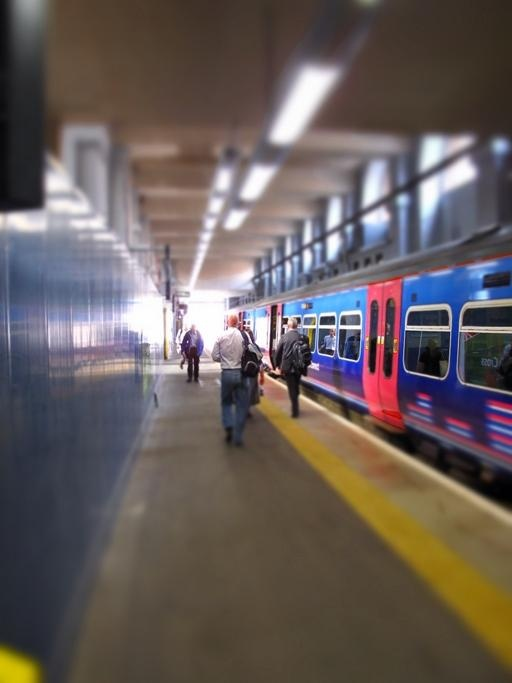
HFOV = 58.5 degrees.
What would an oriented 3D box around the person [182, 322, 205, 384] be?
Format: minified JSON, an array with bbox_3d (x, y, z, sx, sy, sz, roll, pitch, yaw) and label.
[{"bbox_3d":[-1.629,0.351,11.466,0.512,1.473,1.265,1,2,-9],"label":"person"}]

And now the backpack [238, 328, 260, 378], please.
[{"bbox_3d":[-0.039,0.152,5.424,0.333,0.717,0.482,1,-2,-2],"label":"backpack"}]
